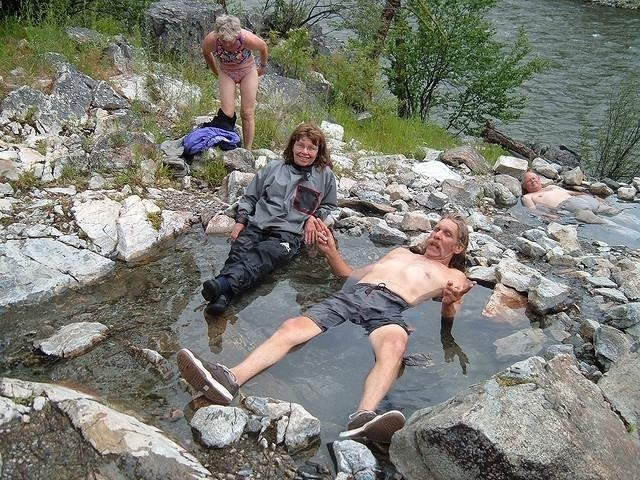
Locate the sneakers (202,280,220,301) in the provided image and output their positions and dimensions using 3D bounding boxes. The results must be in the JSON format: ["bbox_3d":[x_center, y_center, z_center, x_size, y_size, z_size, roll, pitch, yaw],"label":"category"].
[{"bbox_3d":[-1.223,0.591,5.836,0.168,0.343,0.168,-8,39,-24],"label":"sneakers"}]

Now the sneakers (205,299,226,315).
[{"bbox_3d":[-1.158,0.741,5.839,0.222,0.160,0.138,-3,37,-18],"label":"sneakers"}]

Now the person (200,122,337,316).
[{"bbox_3d":[-0.787,-0.315,6.788,1.197,1.325,2.668,20,43,12],"label":"person"}]
